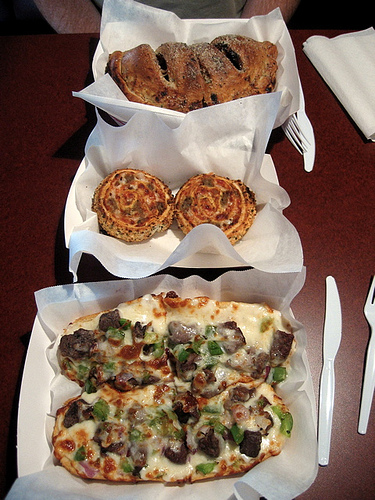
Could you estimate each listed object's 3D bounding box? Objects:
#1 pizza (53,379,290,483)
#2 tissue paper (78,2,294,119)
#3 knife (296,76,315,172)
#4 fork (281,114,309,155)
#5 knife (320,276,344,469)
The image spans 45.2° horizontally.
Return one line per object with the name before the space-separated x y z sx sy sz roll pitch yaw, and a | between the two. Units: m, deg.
pizza | -0.049 0.522 1.326 0.696 0.124 0.265 -3 54 -3
tissue paper | -0.009 -0.844 2.047 0.837 0.180 0.486 2 72 0
knife | 0.473 -0.479 1.857 0.064 0.056 0.474 -1 82 -3
fork | 0.437 -0.482 1.876 0.097 0.031 0.168 -35 88 4
knife | 0.477 0.361 1.504 0.081 0.015 0.679 12 65 3
